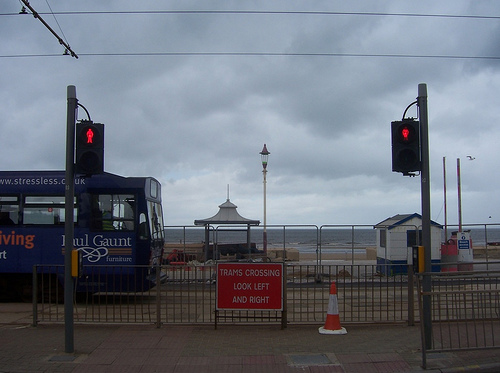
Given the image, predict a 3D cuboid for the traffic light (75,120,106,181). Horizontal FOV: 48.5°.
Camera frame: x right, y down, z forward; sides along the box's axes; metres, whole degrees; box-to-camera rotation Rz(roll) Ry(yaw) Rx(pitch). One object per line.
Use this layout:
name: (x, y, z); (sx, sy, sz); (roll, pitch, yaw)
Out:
traffic light: (-3.732, -0.898, 12.786); (0.704, 1.270, 0.268); (-2, -6, 6)

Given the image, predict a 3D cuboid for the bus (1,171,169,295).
bus: (-7.555, 1.502, 19.809); (8.604, 4.832, 3.550); (0, -1, -2)
